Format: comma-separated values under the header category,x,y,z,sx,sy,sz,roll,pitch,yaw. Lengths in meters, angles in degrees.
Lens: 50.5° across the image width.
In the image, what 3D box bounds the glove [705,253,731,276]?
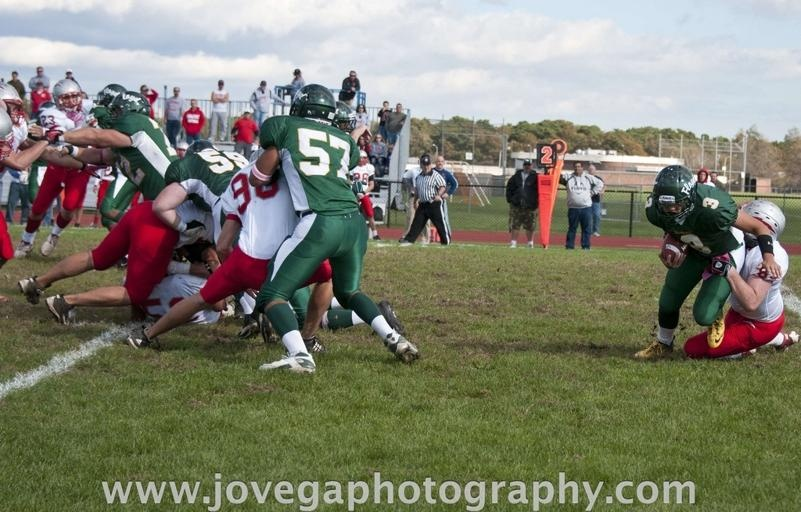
category,x,y,z,sx,sy,sz,roll,pitch,yaw
glove,2.814,0.073,7.569,0.182,0.180,0.077,8,-31,33

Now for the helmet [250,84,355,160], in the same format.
category,x,y,z,sx,sy,sz,roll,pitch,yaw
helmet,-0.872,-1.178,7.236,0.650,0.552,0.378,1,9,-9

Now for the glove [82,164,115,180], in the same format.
category,x,y,z,sx,sy,sz,roll,pitch,yaw
glove,-4.108,-1.150,11.521,0.336,0.140,0.257,13,11,23

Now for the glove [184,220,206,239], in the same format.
category,x,y,z,sx,sy,sz,roll,pitch,yaw
glove,-1.964,-0.264,8.175,0.256,0.228,0.132,2,12,-10

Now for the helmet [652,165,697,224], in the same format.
category,x,y,z,sx,sy,sz,roll,pitch,yaw
helmet,2.405,-0.568,7.532,0.405,0.446,0.531,0,32,22

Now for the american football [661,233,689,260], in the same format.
category,x,y,z,sx,sy,sz,roll,pitch,yaw
american football,2.438,-0.083,7.647,0.166,0.211,0.207,13,-2,-43
